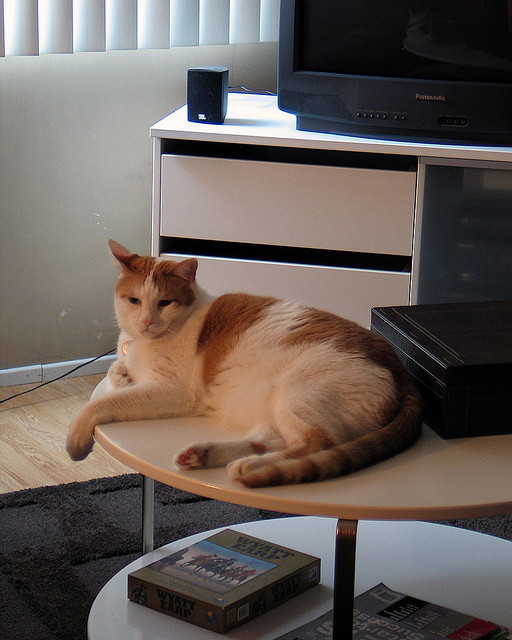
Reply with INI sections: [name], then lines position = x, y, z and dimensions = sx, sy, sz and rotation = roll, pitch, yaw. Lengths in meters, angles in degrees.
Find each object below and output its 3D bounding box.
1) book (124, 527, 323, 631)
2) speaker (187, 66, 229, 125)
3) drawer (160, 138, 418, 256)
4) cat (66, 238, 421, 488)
[book]
position = -0.058, 0.347, 0.858
dimensions = 0.224, 0.071, 0.186
rotation = 11, 16, 35
[speaker]
position = -0.126, -0.611, 1.674
dimensions = 0.094, 0.139, 0.157
rotation = 6, 26, 7
[drawer]
position = 0.088, -0.321, 1.678
dimensions = 0.658, 0.336, 0.286
rotation = 6, 15, 5
[cat]
position = -0.040, 0.043, 0.699
dimensions = 0.380, 0.185, 0.265
rotation = 10, 18, 34
